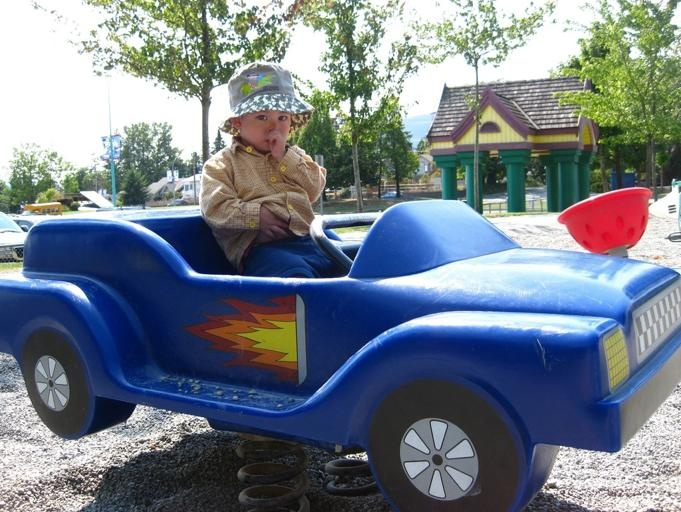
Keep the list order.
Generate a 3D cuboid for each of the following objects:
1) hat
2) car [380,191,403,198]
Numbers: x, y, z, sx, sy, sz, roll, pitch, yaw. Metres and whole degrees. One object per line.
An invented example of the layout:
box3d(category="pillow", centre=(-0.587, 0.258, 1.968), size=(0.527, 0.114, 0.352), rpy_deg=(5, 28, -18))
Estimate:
box3d(category="hat", centre=(-0.387, -0.892, 3.561), size=(0.435, 0.284, 0.413), rpy_deg=(1, 20, 11))
box3d(category="car", centre=(4.874, -5.831, 64.683), size=(1.510, 0.896, 2.289), rpy_deg=(-1, 2, 6))
